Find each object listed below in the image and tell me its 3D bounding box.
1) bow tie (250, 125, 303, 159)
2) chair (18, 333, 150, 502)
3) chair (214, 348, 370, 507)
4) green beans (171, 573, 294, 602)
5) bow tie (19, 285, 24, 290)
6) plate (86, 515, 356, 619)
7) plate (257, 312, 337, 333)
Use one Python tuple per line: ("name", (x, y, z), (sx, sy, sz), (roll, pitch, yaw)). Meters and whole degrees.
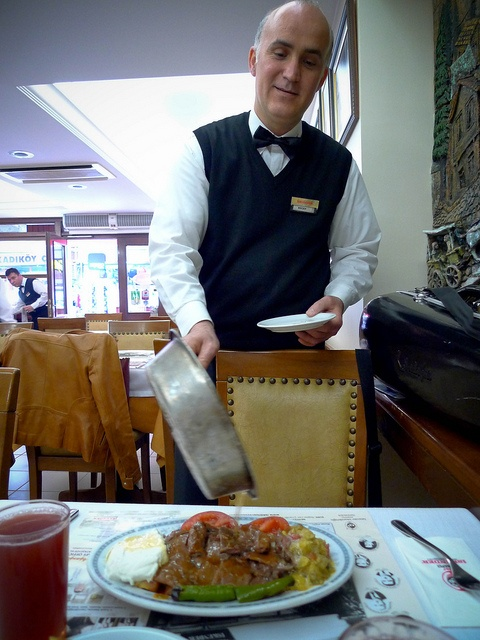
("bow tie", (0.100, -0.506, 1.332), (0.099, 0.059, 0.021), (10, 12, -5))
("chair", (-0.671, 0.545, 2.224), (0.503, 0.737, 0.701), (2, -3, -11))
("chair", (0.134, 0.227, 1.102), (0.286, 0.363, 0.285), (6, 11, 21))
("green beans", (-0.005, 0.265, 0.454), (0.120, 0.014, 0.028), (2, -3, -6))
("bow tie", (-3.656, -0.537, 7.877), (0.069, 0.067, 0.069), (2, -2, 2))
("plate", (-0.020, 0.264, 0.522), (0.281, 0.025, 0.222), (1, -3, 18))
("plate", (0.138, 0.005, 1.060), (0.153, 0.051, 0.304), (1, -3, 11))
